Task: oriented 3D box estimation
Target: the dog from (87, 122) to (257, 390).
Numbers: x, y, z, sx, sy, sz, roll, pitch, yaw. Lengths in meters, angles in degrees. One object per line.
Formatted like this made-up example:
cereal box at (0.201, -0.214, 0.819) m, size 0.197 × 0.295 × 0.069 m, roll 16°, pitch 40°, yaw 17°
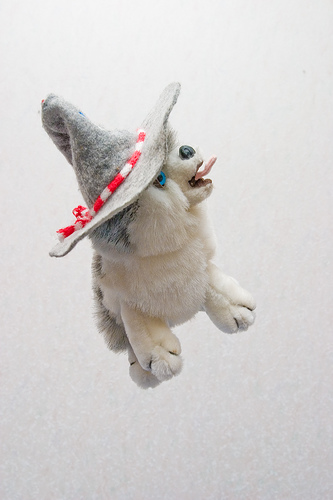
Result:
dog at (0.001, 0.025, 1.244) m, size 0.291 × 0.512 × 0.286 m, roll -14°, pitch 37°, yaw -39°
